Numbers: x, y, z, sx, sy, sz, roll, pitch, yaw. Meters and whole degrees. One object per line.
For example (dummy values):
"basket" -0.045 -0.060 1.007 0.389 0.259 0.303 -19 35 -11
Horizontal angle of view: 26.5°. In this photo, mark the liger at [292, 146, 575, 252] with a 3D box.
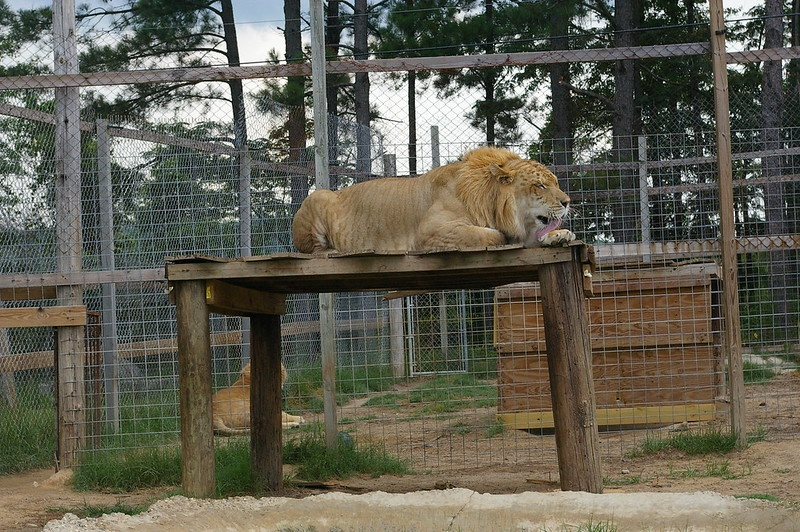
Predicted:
"liger" 0.641 -0.823 31.101 4.214 1.676 2.072 -6 6 12
